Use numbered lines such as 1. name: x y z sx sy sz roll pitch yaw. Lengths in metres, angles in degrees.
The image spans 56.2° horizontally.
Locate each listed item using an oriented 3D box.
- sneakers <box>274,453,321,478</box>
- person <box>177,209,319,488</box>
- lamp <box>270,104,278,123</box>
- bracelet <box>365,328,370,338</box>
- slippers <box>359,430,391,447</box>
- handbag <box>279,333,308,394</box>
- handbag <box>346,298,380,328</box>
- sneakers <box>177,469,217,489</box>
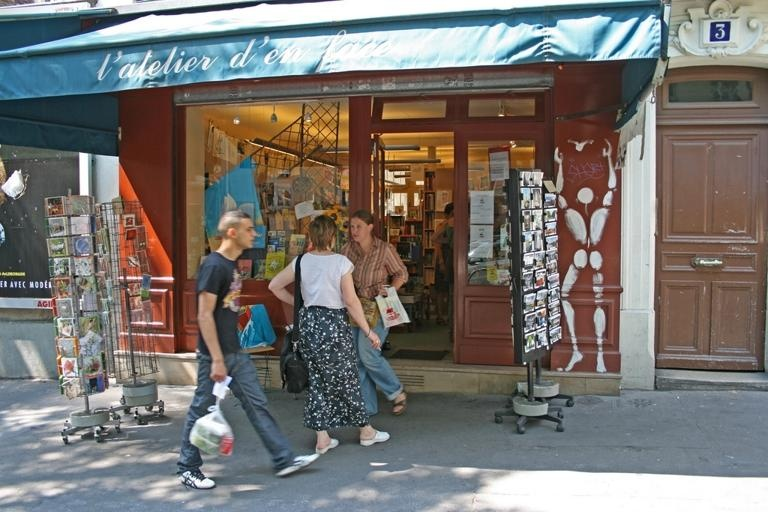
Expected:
1. sneakers: -0.875 2.043 7.188 0.487 0.187 0.168 -19 -1 -13
2. person: -1.500 0.894 7.034 1.141 2.718 0.430 -4 0 -21
3. lamp: -1.487 -1.874 9.577 0.086 0.225 0.060 -4 0 -5
4. bracelet: -0.186 0.800 7.527 0.043 0.076 0.058 12 37 31
5. slippers: -0.092 1.942 7.678 0.281 0.104 0.134 -2 1 -34
6. handbag: -0.968 1.058 7.610 0.329 0.644 0.581 0 11 -4
7. handbag: -0.210 0.632 8.153 0.399 0.355 0.297 15 -13 4
8. sneakers: -1.827 2.162 7.039 0.391 0.161 0.149 1 6 15
